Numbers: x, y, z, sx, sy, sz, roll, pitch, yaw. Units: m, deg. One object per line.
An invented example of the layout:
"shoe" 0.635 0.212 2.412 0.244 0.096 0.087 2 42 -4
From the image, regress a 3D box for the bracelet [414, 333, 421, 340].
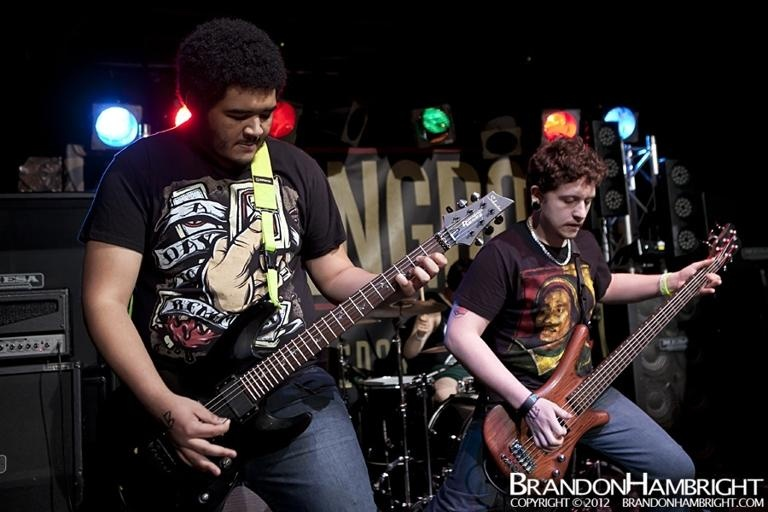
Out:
"bracelet" 0.354 0.843 6.576 0.072 0.070 0.017 -13 0 14

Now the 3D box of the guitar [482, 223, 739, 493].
"guitar" 1.340 0.867 4.150 1.528 1.425 0.206 -2 0 -24

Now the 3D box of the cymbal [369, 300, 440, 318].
"cymbal" 0.216 0.467 5.515 0.422 0.095 0.413 -2 -7 -27

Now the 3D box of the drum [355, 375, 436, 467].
"drum" 0.250 1.678 6.186 0.846 0.882 0.842 -2 -41 3

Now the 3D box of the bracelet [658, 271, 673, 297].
"bracelet" 1.992 0.192 4.453 0.053 0.142 0.107 -3 -29 22

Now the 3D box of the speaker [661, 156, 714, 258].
"speaker" 2.970 -0.484 6.123 0.305 0.979 0.220 -7 3 17
